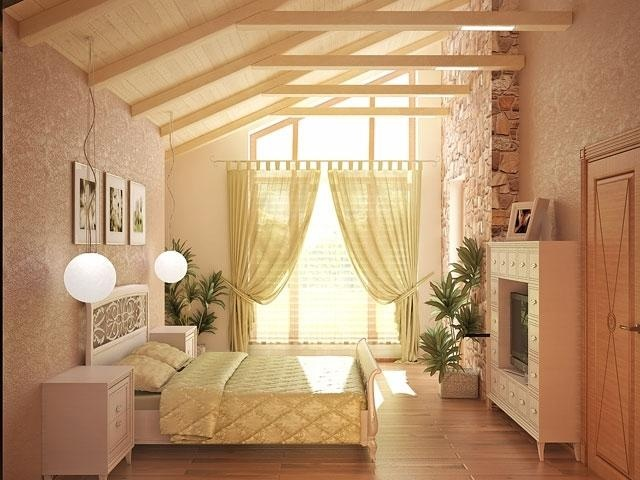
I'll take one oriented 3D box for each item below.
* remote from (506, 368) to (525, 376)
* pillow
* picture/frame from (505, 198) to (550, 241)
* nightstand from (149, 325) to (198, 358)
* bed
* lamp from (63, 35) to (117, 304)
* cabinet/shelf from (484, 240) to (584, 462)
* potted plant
[{"bbox_3d":[2.109,1.420,5.255,0.104,0.034,0.124,3,0,-22],"label":"remote"},{"bbox_3d":[-1.708,1.288,4.931,0.350,0.106,0.671,16,1,-4],"label":"pillow"},{"bbox_3d":[2.216,-0.142,5.354,0.316,0.684,0.634,2,-3,-4],"label":"picture/frame"},{"bbox_3d":[-1.855,1.426,6.332,0.346,0.605,0.665,-1,1,2],"label":"nightstand"},{"bbox_3d":[-0.716,1.507,5.183,1.851,1.359,1.866,0,2,-1],"label":"bed"},{"bbox_3d":[-2.112,-0.571,4.390,0.394,2.394,0.967,-2,3,-29],"label":"lamp"},{"bbox_3d":[2.171,1.118,4.875,0.526,2.317,1.830,0,-2,7],"label":"cabinet/shelf"},{"bbox_3d":[1.826,1.001,6.730,0.774,2.096,1.415,1,3,16],"label":"potted plant"}]
